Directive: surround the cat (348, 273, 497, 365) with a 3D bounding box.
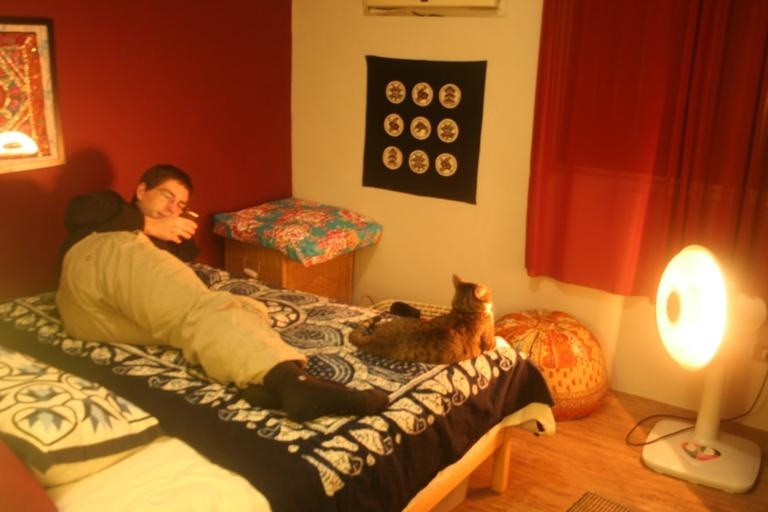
[{"bbox_3d":[0.220,0.381,2.820,0.605,0.272,0.460,-24,42,-25],"label":"cat"}]

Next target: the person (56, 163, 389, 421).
[{"bbox_3d":[-0.943,0.082,2.914,2.055,1.047,0.699,13,-4,31],"label":"person"}]
